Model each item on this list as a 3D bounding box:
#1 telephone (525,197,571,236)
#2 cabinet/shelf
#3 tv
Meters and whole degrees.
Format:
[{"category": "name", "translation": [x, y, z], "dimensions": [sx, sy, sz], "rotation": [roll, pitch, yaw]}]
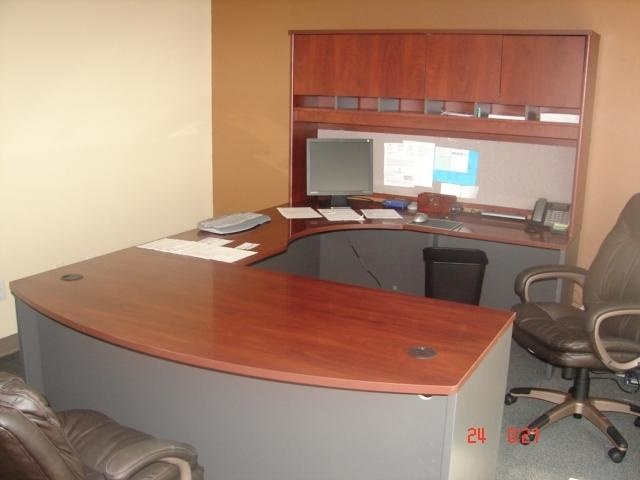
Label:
[{"category": "telephone", "translation": [1.871, -0.182, 4.142], "dimensions": [0.316, 0.287, 0.135], "rotation": [11, -11, 23]}, {"category": "cabinet/shelf", "translation": [1.031, -0.952, 4.647], "dimensions": [2.623, 1.605, 0.636], "rotation": [12, 27, 29]}, {"category": "tv", "translation": [0.164, -0.609, 4.586], "dimensions": [0.738, 0.579, 0.219], "rotation": [-6, 14, -32]}]
